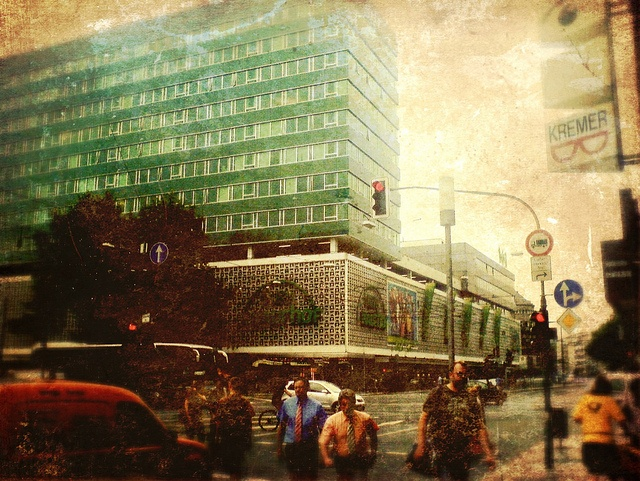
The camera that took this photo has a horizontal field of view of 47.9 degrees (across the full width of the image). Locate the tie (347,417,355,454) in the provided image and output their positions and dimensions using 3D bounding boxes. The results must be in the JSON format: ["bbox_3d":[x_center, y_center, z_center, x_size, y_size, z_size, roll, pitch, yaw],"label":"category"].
[{"bbox_3d":[0.522,3.286,12.143,0.147,0.559,0.038,6,-11,-12],"label":"tie"}]

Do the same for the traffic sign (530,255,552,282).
[{"bbox_3d":[4.952,0.637,16.175,0.583,0.764,0.101,-5,-8,32],"label":"traffic sign"}]

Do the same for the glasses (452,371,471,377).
[{"bbox_3d":[2.347,2.246,12.135,0.178,0.053,0.180,6,-10,-13],"label":"glasses"}]

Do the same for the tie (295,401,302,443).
[{"bbox_3d":[-0.384,3.185,12.689,0.138,0.702,0.060,5,-11,-8],"label":"tie"}]

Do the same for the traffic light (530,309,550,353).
[{"bbox_3d":[5.213,2.167,17.151,0.413,1.022,0.232,0,-11,16],"label":"traffic light"}]

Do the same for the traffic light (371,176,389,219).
[{"bbox_3d":[1.532,-1.106,18.508,0.434,1.035,0.316,2,-11,4],"label":"traffic light"}]

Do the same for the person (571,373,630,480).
[{"bbox_3d":[5.317,3.540,13.795,0.889,1.869,1.171,-1,-12,21],"label":"person"}]
